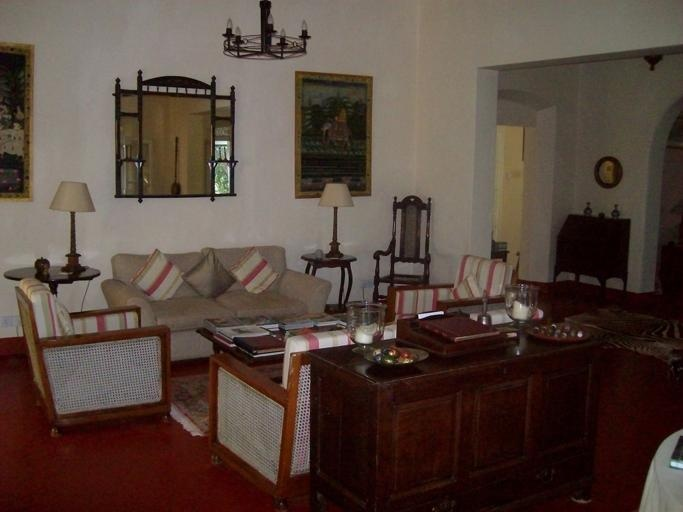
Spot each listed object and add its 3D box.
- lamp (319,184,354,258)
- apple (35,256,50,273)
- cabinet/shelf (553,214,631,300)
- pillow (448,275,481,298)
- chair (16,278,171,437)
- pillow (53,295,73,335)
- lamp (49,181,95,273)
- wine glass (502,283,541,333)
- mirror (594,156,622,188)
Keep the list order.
[{"bbox_3d":[-0.080,-0.464,6.964,0.387,0.909,0.640,0,11,-1],"label":"lamp"},{"bbox_3d":[-2.942,0.084,5.471,0.142,0.168,0.141,-3,1,-34],"label":"apple"},{"bbox_3d":[3.983,-0.005,8.822,0.785,1.526,1.137,-7,10,-39],"label":"cabinet/shelf"},{"bbox_3d":[1.214,0.308,5.382,0.248,0.241,0.331,1,10,3],"label":"pillow"},{"bbox_3d":[-2.009,0.840,4.640,1.120,1.158,1.082,-4,11,-29],"label":"chair"},{"bbox_3d":[-2.043,0.434,4.111,0.070,0.243,0.218,-10,2,-8],"label":"pillow"},{"bbox_3d":[-2.734,-0.314,5.685,0.388,0.898,0.534,-5,12,-27],"label":"lamp"},{"bbox_3d":[1.146,0.320,3.434,0.243,0.284,0.252,-2,1,-1],"label":"wine glass"},{"bbox_3d":[4.221,-1.334,8.909,0.091,0.454,0.444,-4,18,-43],"label":"mirror"}]
